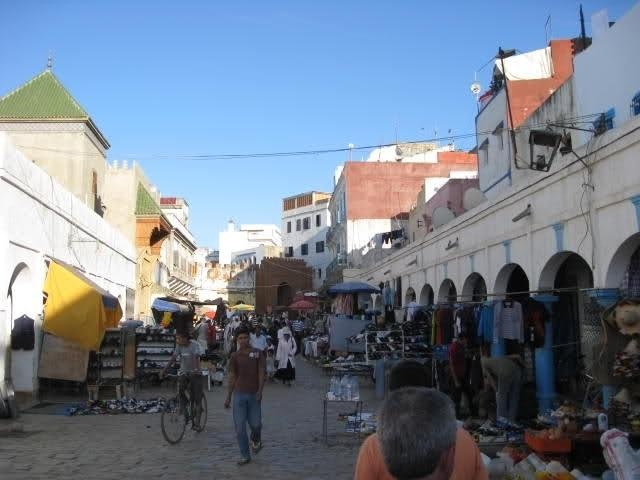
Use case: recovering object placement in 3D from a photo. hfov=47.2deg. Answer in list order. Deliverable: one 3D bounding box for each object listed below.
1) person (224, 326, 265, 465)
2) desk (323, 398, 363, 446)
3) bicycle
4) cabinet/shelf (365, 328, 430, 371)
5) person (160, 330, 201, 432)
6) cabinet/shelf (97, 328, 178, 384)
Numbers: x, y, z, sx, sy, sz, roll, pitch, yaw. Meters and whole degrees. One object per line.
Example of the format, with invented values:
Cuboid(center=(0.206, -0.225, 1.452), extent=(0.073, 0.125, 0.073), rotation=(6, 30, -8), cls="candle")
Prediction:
Cuboid(center=(-1.181, 2.594, 12.419), extent=(0.749, 2.133, 0.705), rotation=(1, -2, -26), cls="person")
Cuboid(center=(0.430, 3.744, 15.236), extent=(0.961, 0.954, 0.901), rotation=(0, -8, -4), cls="desk")
Cuboid(center=(-2.518, 3.115, 13.555), extent=(0.751, 1.313, 0.770), rotation=(4, -2, -30), cls="bicycle")
Cuboid(center=(1.572, 2.279, 15.508), extent=(0.706, 0.826, 1.060), rotation=(0, -3, -19), cls="cabinet/shelf")
Cuboid(center=(-2.476, 2.641, 13.851), extent=(0.549, 1.512, 1.968), rotation=(0, -5, -3), cls="person")
Cuboid(center=(-4.772, 2.964, 18.985), extent=(1.687, 0.697, 1.796), rotation=(1, -9, -11), cls="cabinet/shelf")
